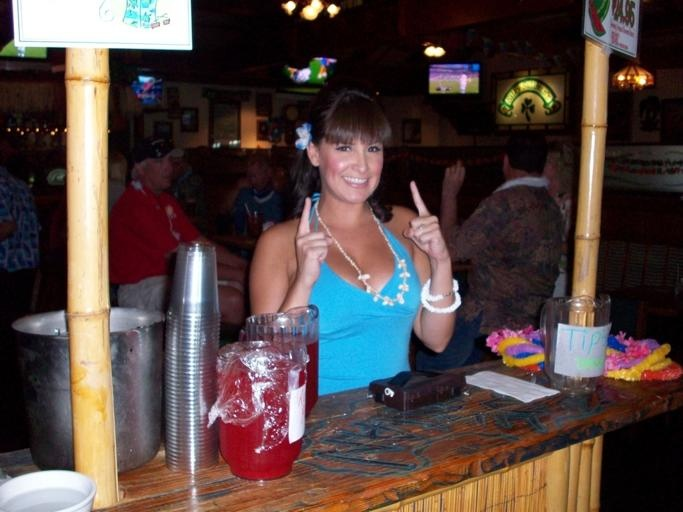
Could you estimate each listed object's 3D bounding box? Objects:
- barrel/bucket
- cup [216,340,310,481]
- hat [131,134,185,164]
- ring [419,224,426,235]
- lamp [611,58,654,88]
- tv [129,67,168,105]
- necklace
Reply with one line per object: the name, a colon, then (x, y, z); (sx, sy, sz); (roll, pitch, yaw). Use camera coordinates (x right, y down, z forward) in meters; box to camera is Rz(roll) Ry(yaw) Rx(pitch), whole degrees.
barrel/bucket: (-0.537, 0.272, 1.413); (0.349, 0.385, 0.356); (-1, 2, 0)
cup: (-0.189, 0.343, 1.268); (0.203, 0.297, 0.104); (3, 8, 11)
hat: (-1.248, -0.764, 4.159); (0.443, 0.216, 0.321); (-6, 14, -12)
ring: (0.269, -0.088, 1.939); (0.020, 0.028, 0.009); (-32, -34, 21)
lamp: (3.207, -1.993, 6.336); (0.341, 0.316, 0.436); (8, 10, 44)
tv: (-3.336, -2.876, 9.894); (0.310, 0.569, 0.646); (3, 7, 17)
necklace: (0.069, -0.024, 2.181); (0.200, 0.066, 0.568); (-19, 57, -21)
